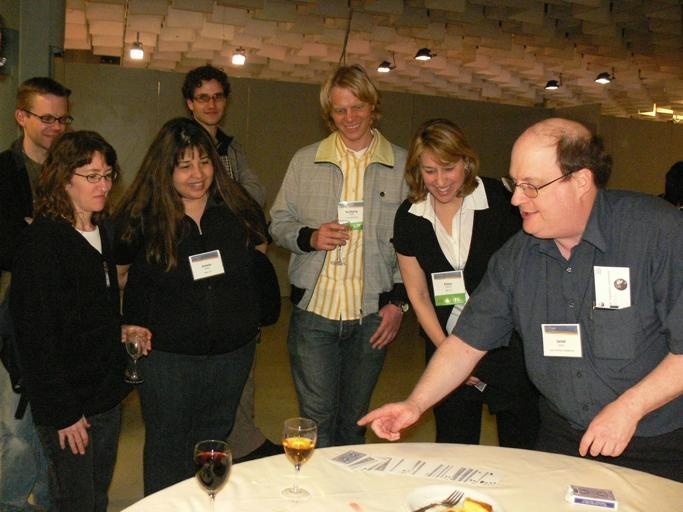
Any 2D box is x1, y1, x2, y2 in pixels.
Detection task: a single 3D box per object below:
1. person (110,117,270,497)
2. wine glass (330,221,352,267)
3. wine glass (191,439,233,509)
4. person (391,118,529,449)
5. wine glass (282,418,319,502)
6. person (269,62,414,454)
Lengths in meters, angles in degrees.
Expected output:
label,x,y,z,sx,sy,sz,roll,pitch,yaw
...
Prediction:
label,x,y,z,sx,sy,sz,roll,pitch,yaw
person,-0.813,0.193,3.141,0.646,2.065,0.648,-5,16,-33
wine glass,-0.011,-0.067,3.313,0.122,0.244,0.052,1,9,-1
wine glass,-0.425,0.713,1.921,0.118,0.207,0.128,-1,9,-14
person,0.624,0.057,3.290,0.716,1.839,0.662,1,6,-15
wine glass,-0.148,0.695,2.031,0.074,0.253,0.105,6,6,39
person,0.031,0.242,3.432,0.877,2.509,0.795,-1,6,-19
